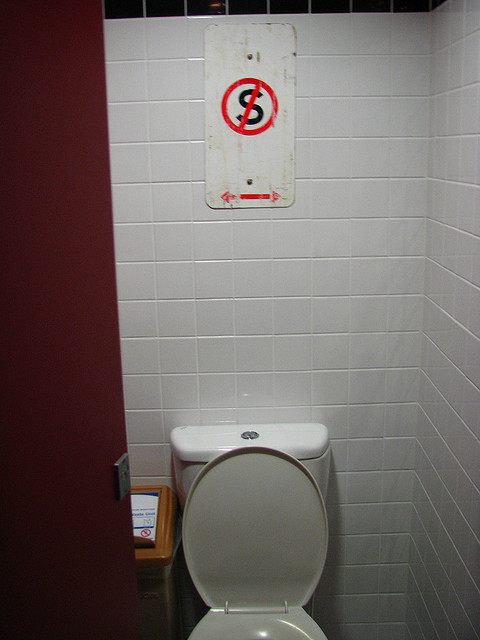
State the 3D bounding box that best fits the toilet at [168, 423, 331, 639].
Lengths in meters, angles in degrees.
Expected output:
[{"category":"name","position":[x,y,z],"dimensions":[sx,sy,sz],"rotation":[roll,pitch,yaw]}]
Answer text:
[{"category":"toilet","position":[0.025,0.528,1.476],"dimensions":[0.456,0.416,0.455],"rotation":[-2,13,2]}]
